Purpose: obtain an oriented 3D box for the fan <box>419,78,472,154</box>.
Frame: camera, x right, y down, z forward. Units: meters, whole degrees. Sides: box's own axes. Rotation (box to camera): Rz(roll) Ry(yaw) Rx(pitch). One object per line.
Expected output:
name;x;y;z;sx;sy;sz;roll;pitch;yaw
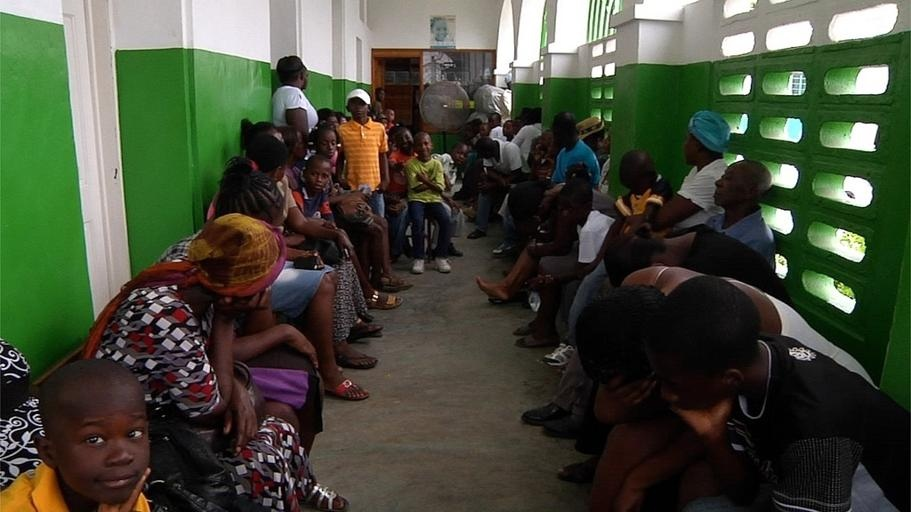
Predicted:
fan;-0.244;-2.668;11.090;0.950;1.400;0.892;0;15;-4
